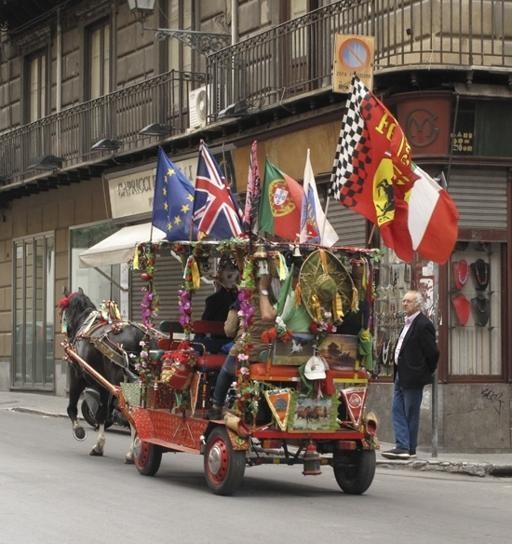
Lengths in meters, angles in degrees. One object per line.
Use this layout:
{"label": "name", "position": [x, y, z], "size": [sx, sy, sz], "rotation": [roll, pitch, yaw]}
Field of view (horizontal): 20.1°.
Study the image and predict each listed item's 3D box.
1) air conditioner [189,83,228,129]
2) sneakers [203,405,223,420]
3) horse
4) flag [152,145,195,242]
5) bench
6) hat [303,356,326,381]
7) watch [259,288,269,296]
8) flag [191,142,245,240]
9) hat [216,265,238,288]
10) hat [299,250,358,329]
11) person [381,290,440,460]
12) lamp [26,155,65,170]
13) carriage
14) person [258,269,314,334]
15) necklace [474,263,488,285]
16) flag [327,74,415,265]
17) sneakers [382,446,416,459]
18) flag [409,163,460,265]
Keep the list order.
{"label": "air conditioner", "position": [-1.004, -2.872, 24.942], "size": [0.279, 0.754, 0.772], "rotation": [6, 18, 38]}
{"label": "sneakers", "position": [-0.429, 1.455, 15.170], "size": [0.105, 0.185, 0.173], "rotation": [0, -12, 6]}
{"label": "horse", "position": [-2.033, 1.345, 19.033], "size": [0.746, 2.136, 2.672], "rotation": [9, -4, -29]}
{"label": "flag", "position": [-0.975, -0.965, 17.406], "size": [0.513, 0.215, 1.444], "rotation": [1, -41, -1]}
{"label": "bench", "position": [0.123, 1.180, 15.429], "size": [1.039, 0.848, 1.789], "rotation": [6, -12, -32]}
{"label": "hat", "position": [0.601, 0.961, 14.797], "size": [0.163, 0.259, 0.138], "rotation": [-3, -46, -2]}
{"label": "watch", "position": [0.089, 0.193, 14.859], "size": [0.068, 0.058, 0.081], "rotation": [0, -5, -2]}
{"label": "flag", "position": [-0.475, -0.942, 16.395], "size": [0.666, 1.499, 0.171], "rotation": [2, -39, -14]}
{"label": "hat", "position": [-0.343, 0.036, 16.344], "size": [0.183, 0.254, 0.230], "rotation": [2, -15, -32]}
{"label": "hat", "position": [0.736, 0.151, 14.813], "size": [0.196, 0.780, 0.596], "rotation": [6, 21, 43]}
{"label": "person", "position": [1.886, 1.217, 17.515], "size": [0.665, 2.014, 0.436], "rotation": [-2, -6, 12]}
{"label": "lamp", "position": [-4.200, -2.212, 28.990], "size": [0.690, 0.341, 0.909], "rotation": [0, -7, -5]}
{"label": "carriage", "position": [-0.869, 1.023, 16.760], "size": [1.716, 2.782, 5.067], "rotation": [8, -3, -37]}
{"label": "person", "position": [0.326, 0.266, 14.755], "size": [0.525, 0.853, 0.342], "rotation": [2, 2, 21]}
{"label": "necklace", "position": [3.089, -0.007, 19.726], "size": [0.173, 0.308, 0.068], "rotation": [-2, -1, -18]}
{"label": "flag", "position": [1.337, -1.252, 16.197], "size": [0.981, 0.308, 2.219], "rotation": [4, -51, 6]}
{"label": "sneakers", "position": [1.718, 2.177, 17.413], "size": [0.383, 0.206, 0.172], "rotation": [2, -9, 6]}
{"label": "flag", "position": [1.887, -0.850, 16.643], "size": [0.305, 0.978, 1.221], "rotation": [-9, 11, -17]}
